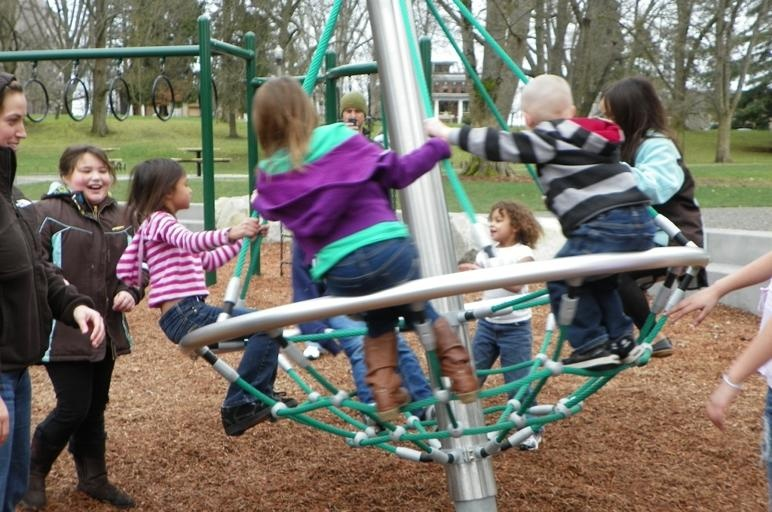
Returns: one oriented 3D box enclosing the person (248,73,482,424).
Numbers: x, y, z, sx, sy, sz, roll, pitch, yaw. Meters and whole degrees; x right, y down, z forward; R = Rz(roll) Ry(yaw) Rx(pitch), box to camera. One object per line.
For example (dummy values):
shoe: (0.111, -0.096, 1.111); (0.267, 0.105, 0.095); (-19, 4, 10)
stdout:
person: (-0.129, -0.058, 3.558); (1.130, 1.667, 0.570); (0, 12, 0)

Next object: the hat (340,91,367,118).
hat: (-0.302, -1.477, 6.877); (0.234, 0.206, 0.238); (1, -1, -4)

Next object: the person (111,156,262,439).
person: (-1.139, 0.250, 4.280); (1.180, 1.645, 0.554); (10, 15, 40)

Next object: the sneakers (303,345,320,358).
sneakers: (-0.601, 0.792, 5.839); (0.150, 0.070, 0.200); (5, -17, -12)

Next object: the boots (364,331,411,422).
boots: (0.003, 0.595, 3.526); (0.191, 0.418, 0.242); (-3, 12, -15)

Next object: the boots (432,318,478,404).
boots: (0.349, 0.515, 3.503); (0.228, 0.400, 0.193); (1, 12, 3)
